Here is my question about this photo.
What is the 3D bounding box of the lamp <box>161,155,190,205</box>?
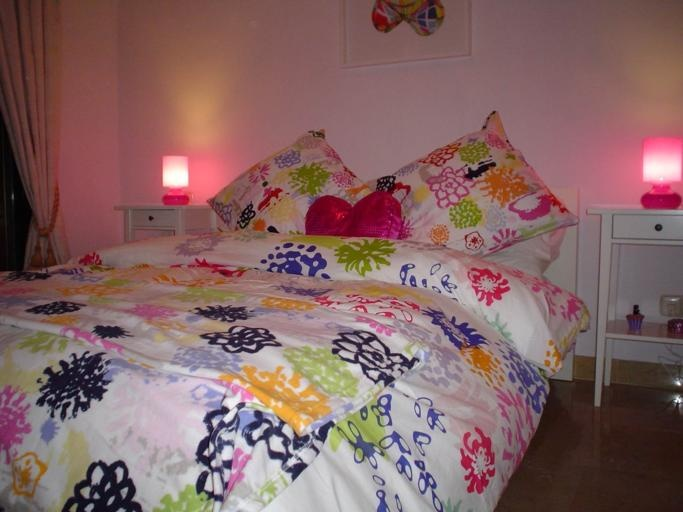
[{"bbox_3d":[-1.081,-0.502,3.098,0.170,0.310,0.495,-2,11,-18],"label":"lamp"}]

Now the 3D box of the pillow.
[{"bbox_3d":[0.219,-0.312,2.185,1.559,0.584,0.648,7,12,29],"label":"pillow"}]
